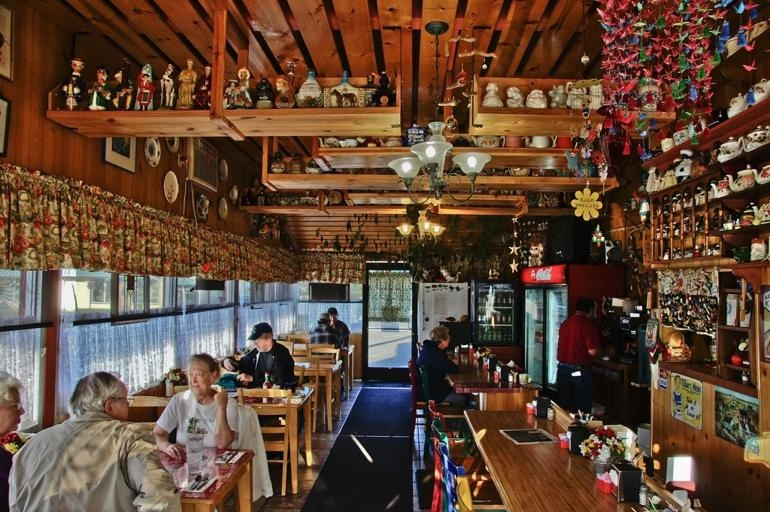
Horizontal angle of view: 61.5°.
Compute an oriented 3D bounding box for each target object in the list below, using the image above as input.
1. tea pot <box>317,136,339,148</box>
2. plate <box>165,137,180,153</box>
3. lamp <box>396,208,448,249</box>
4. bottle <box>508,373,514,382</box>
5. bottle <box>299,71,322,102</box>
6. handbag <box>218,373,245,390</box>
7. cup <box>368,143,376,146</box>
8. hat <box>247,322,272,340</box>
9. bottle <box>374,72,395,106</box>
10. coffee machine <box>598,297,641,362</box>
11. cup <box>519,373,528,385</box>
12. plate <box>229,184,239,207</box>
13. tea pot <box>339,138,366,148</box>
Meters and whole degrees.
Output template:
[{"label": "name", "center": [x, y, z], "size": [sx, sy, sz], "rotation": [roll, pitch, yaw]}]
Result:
[{"label": "tea pot", "center": [-0.624, -1.282, 7.241], "size": [0.145, 0.084, 0.204], "rotation": [0, -9, -2]}, {"label": "plate", "center": [-2.576, -1.354, 7.801], "size": [0.017, 0.200, 0.197], "rotation": [-7, -8, 21]}, {"label": "lamp", "center": [0.573, -0.448, 9.968], "size": [0.550, 0.567, 0.750], "rotation": [0, 0, -2]}, {"label": "bottle", "center": [1.532, 1.469, 7.838], "size": [0.080, 0.139, 0.072], "rotation": [-1, -16, 6]}, {"label": "bottle", "center": [-0.745, -1.641, 6.275], "size": [0.253, 0.269, 0.213], "rotation": [-6, 2, -4]}, {"label": "handbag", "center": [-1.847, 1.499, 7.748], "size": [0.370, 0.181, 0.530], "rotation": [2, -11, -9]}, {"label": "cup", "center": [-0.153, -1.261, 7.274], "size": [0.060, 0.042, 0.082], "rotation": [-2, -2, 2]}, {"label": "hat", "center": [-1.570, 0.950, 8.285], "size": [0.337, 0.188, 0.231], "rotation": [0, -5, -40]}, {"label": "bottle", "center": [-0.018, -1.660, 6.452], "size": [0.215, 0.290, 0.369], "rotation": [-5, 2, 16]}, {"label": "coffee machine", "center": [3.210, 1.014, 8.802], "size": [0.362, 0.716, 0.729], "rotation": [2, -13, 2]}, {"label": "cup", "center": [1.645, 1.480, 7.759], "size": [0.098, 0.123, 0.114], "rotation": [-1, -14, 6]}, {"label": "plate", "center": [-2.267, -0.954, 9.740], "size": [0.058, 0.228, 0.189], "rotation": [6, -40, 15]}, {"label": "tea pot", "center": [-0.358, -1.260, 7.206], "size": [0.202, 0.069, 0.153], "rotation": [1, -2, -34]}]
